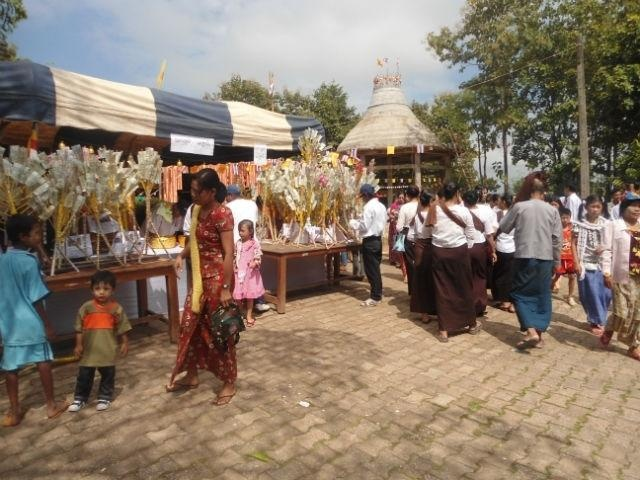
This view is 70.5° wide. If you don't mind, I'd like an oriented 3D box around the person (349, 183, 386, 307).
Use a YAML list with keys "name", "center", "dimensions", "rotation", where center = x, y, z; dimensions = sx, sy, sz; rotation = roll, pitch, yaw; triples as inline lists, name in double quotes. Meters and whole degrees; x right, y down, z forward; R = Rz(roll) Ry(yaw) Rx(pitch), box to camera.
- name: "person"
  center: [0.777, 0.098, 7.171]
  dimensions: [0.466, 1.900, 0.455]
  rotation: [9, 15, 36]

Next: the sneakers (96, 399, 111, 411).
- name: "sneakers"
  center: [-2.028, 1.542, 4.239]
  dimensions: [0.058, 0.059, 0.156]
  rotation: [2, -1, -3]

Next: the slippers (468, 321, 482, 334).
- name: "slippers"
  center: [2.107, 1.165, 6.134]
  dimensions: [0.106, 0.126, 0.281]
  rotation: [5, 16, 33]

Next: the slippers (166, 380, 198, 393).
- name: "slippers"
  center: [-1.378, 1.463, 4.516]
  dimensions: [0.266, 0.068, 0.111]
  rotation: [6, -7, -18]

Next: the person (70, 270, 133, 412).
- name: "person"
  center: [-2.106, 0.939, 4.267]
  dimensions: [0.596, 1.256, 0.460]
  rotation: [-8, 15, -36]

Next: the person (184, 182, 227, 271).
- name: "person"
  center: [-1.101, -0.216, 4.339]
  dimensions: [0.418, 0.916, 0.641]
  rotation: [-4, 13, -22]

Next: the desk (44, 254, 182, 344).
- name: "desk"
  center: [-2.581, 0.820, 5.279]
  dimensions: [0.828, 0.954, 1.551]
  rotation: [1, 5, 43]

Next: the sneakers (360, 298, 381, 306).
- name: "sneakers"
  center: [0.786, 0.986, 7.205]
  dimensions: [0.247, 0.099, 0.132]
  rotation: [2, -1, -14]

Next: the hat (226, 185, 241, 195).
- name: "hat"
  center: [-1.261, -0.740, 6.570]
  dimensions: [0.181, 0.097, 0.132]
  rotation: [16, 16, 34]

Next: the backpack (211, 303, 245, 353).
- name: "backpack"
  center: [-0.869, 0.798, 4.172]
  dimensions: [0.196, 0.354, 0.448]
  rotation: [22, -4, -21]
